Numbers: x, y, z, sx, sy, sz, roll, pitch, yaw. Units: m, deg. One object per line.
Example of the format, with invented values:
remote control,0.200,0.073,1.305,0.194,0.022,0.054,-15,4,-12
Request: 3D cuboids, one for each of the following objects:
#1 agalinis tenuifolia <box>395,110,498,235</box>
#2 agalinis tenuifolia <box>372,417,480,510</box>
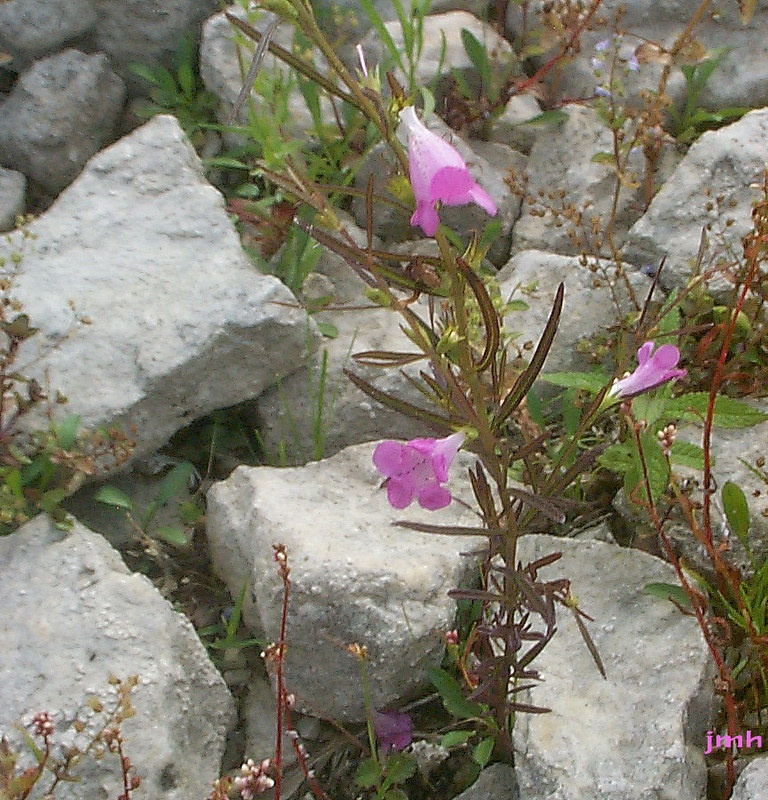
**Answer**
agalinis tenuifolia,0.125,-0.516,2.498,0.196,0.284,0.102,-25,75,-5
agalinis tenuifolia,0.091,0.175,2.739,0.233,0.178,0.162,-2,56,0
